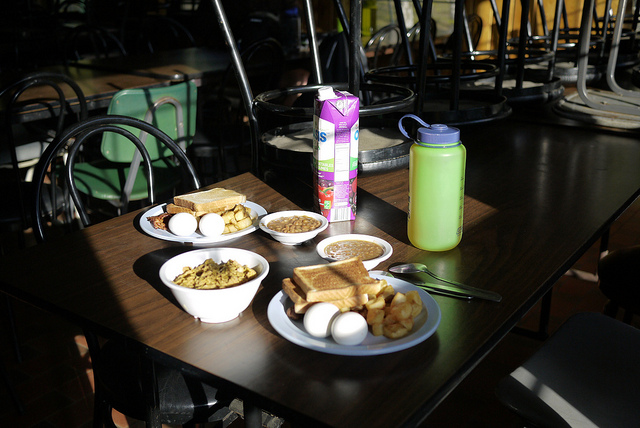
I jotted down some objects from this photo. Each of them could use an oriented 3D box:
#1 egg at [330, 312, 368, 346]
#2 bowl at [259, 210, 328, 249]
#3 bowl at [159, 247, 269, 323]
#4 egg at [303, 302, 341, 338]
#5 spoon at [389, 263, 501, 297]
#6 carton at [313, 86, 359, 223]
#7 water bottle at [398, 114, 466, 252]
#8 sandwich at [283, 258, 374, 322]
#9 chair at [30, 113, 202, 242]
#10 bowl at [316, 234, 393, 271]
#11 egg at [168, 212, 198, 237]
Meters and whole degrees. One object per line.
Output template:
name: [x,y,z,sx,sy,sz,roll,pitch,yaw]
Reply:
egg: [0.048,0.188,0.761,0.055,0.053,0.042,1,-18,-12]
bowl: [-0.063,0.023,1.062,0.100,0.036,0.104,-4,25,2]
bowl: [-0.193,0.118,0.864,0.189,0.123,0.211,-10,18,-38]
egg: [0.000,0.175,0.775,0.062,0.050,0.077,-1,16,-8]
spoon: [0.242,0.124,0.913,0.208,0.031,0.044,6,26,24]
carton: [0.040,-0.142,1.124,0.113,0.301,0.102,-5,20,-2]
water bottle: [0.240,-0.060,1.042,0.120,0.300,0.129,-3,22,1]
sandwich: [0.020,0.133,0.844,0.175,0.059,0.115,-10,24,-10]
chair: [-0.836,-0.170,1.908,0.418,0.665,0.467,-28,61,-34]
bowl: [0.073,0.080,0.988,0.146,0.034,0.132,16,31,40]
egg: [-0.300,0.022,1.023,0.053,0.038,0.051,-6,23,-37]
